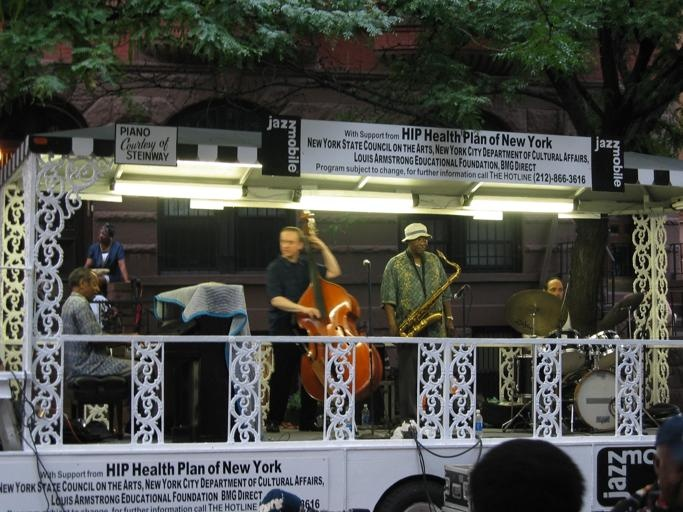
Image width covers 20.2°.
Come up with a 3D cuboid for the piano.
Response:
[{"bbox_3d":[-2.008,1.422,25.481,1.308,1.946,1.324,3,-2,-21],"label":"piano"}]

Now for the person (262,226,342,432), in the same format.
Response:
[{"bbox_3d":[-0.586,0.985,26.495,1.189,3.170,0.793,0,-2,-5],"label":"person"}]

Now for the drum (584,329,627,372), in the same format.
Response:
[{"bbox_3d":[3.727,1.454,27.396,0.493,0.510,0.498,-8,14,-22],"label":"drum"}]

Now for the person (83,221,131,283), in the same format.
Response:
[{"bbox_3d":[-3.711,-0.034,30.573,0.602,0.987,0.604,7,0,32],"label":"person"}]

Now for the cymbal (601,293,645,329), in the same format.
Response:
[{"bbox_3d":[3.995,0.821,27.792,0.601,0.559,0.494,-1,2,34],"label":"cymbal"}]

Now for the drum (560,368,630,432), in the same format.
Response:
[{"bbox_3d":[3.460,1.996,26.500,0.753,0.860,0.327,1,-2,-10],"label":"drum"}]

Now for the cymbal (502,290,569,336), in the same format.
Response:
[{"bbox_3d":[2.726,0.848,27.943,0.815,0.673,0.263,-1,1,11],"label":"cymbal"}]

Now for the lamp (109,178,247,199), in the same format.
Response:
[{"bbox_3d":[-2.324,-0.897,26.956,1.480,0.255,0.194,-1,17,-10],"label":"lamp"}]
